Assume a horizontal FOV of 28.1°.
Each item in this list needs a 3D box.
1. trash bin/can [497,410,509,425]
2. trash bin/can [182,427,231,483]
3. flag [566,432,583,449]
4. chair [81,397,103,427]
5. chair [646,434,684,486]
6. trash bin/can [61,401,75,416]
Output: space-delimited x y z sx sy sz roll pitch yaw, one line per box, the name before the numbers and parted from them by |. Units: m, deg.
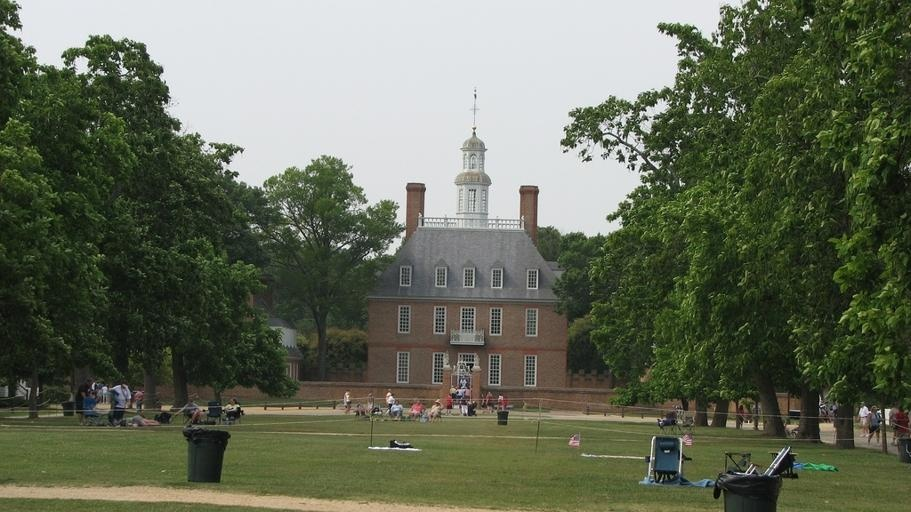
trash bin/can | 2.758 8.806 98.507 0.518 0.818 0.867 1 -12 -2
trash bin/can | -10.251 8.165 73.848 2.316 2.170 2.315 -1 -3 6
flag | 5.880 8.914 87.116 0.736 0.736 0.064 8 12 18
chair | -17.797 7.669 89.630 0.935 1.466 1.118 3 -12 -10
chair | 9.251 8.742 76.744 2.110 1.984 2.137 5 -7 -18
trash bin/can | -20.052 8.007 94.684 1.122 0.720 1.066 3 -9 -21
